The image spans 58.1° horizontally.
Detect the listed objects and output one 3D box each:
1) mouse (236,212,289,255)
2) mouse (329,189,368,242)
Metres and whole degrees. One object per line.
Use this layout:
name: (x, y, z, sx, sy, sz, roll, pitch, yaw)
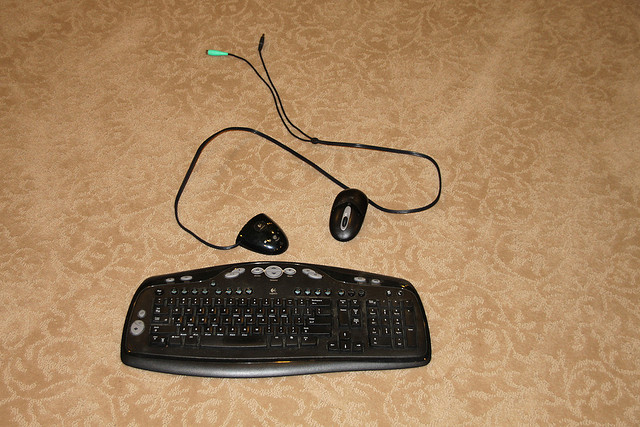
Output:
mouse: (-0.128, 0.053, 1.352, 0.120, 0.023, 0.088, 23, 74, 2)
mouse: (0.066, 0.003, 1.361, 0.071, 0.045, 0.129, 12, 85, 5)
